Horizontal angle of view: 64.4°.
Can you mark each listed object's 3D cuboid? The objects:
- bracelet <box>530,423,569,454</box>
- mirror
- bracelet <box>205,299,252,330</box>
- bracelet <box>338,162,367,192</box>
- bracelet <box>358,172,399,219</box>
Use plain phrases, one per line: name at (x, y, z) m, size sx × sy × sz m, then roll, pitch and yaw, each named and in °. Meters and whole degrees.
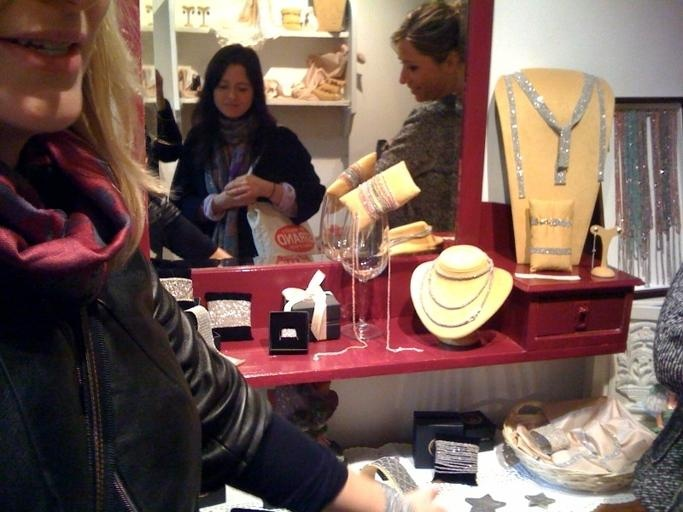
bracelet at (0.507, 0.448, 1.341) m, size 0.053 × 0.075 × 0.072 m, roll -9°, pitch -2°, yaw -21°
mirror at (-0.100, -0.275, 1.222) m, size 0.607 × 0.632 × 0.227 m, roll -2°, pitch 3°, yaw -11°
bracelet at (-0.268, 0.135, 1.267) m, size 0.104 × 0.071 × 0.031 m, roll 0°, pitch 2°, yaw -20°
bracelet at (0.026, -0.192, 1.330) m, size 0.046 × 0.066 × 0.028 m, roll 21°, pitch 5°, yaw -6°
bracelet at (0.083, -0.139, 1.292) m, size 0.091 × 0.096 × 0.034 m, roll -31°, pitch -1°, yaw -2°
